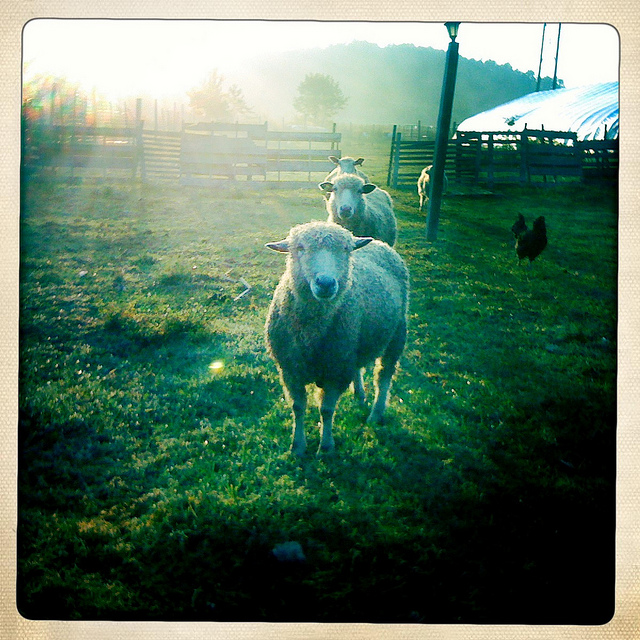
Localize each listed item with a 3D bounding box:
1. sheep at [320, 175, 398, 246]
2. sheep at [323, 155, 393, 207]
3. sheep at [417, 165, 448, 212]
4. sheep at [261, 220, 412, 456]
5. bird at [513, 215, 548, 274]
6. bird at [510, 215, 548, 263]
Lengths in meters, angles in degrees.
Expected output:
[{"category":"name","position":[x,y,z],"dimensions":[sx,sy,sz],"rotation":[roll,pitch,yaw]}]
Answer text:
[{"category":"sheep","position":[0.404,-1.429,7.444],"dimensions":[0.592,1.067,1.881],"rotation":[2,18,7]},{"category":"sheep","position":[0.502,-1.974,7.791],"dimensions":[0.485,0.725,1.383],"rotation":[-4,10,10]},{"category":"sheep","position":[1.936,-2.269,9.753],"dimensions":[0.524,0.767,1.295],"rotation":[5,14,9]},{"category":"sheep","position":[0.167,0.176,5.343],"dimensions":[1.031,2.111,2.433],"rotation":[6,7,21]},{"category":"bird","position":[2.920,-1.131,7.969],"dimensions":[0.374,0.749,1.325],"rotation":[-1,1,21]},{"category":"bird","position":[2.843,-1.058,7.615],"dimensions":[0.290,0.604,1.015],"rotation":[6,-1,9]}]
